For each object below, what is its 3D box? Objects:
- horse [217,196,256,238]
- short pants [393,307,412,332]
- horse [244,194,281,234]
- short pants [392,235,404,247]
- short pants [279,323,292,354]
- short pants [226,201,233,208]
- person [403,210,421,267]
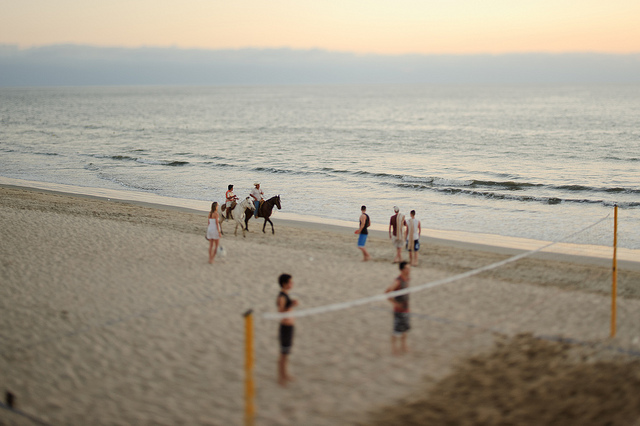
[{"bbox_3d":[-3.280,0.115,25.785,2.247,1.489,0.656,3,3,40],"label":"horse"},{"bbox_3d":[2.160,2.768,17.760,0.417,0.923,0.733,3,19,7],"label":"short pants"},{"bbox_3d":[-2.241,0.039,25.900,2.238,1.436,0.553,-2,-16,45],"label":"horse"},{"bbox_3d":[2.624,0.942,22.644,0.348,0.355,0.354,1,10,15],"label":"short pants"},{"bbox_3d":[-0.837,3.098,16.576,0.306,0.882,0.227,-1,19,-5],"label":"short pants"},{"bbox_3d":[-3.438,-0.352,25.585,0.302,0.164,0.268,-6,52,16],"label":"short pants"},{"bbox_3d":[3.079,0.785,22.540,0.489,1.995,0.726,7,20,17],"label":"person"}]
